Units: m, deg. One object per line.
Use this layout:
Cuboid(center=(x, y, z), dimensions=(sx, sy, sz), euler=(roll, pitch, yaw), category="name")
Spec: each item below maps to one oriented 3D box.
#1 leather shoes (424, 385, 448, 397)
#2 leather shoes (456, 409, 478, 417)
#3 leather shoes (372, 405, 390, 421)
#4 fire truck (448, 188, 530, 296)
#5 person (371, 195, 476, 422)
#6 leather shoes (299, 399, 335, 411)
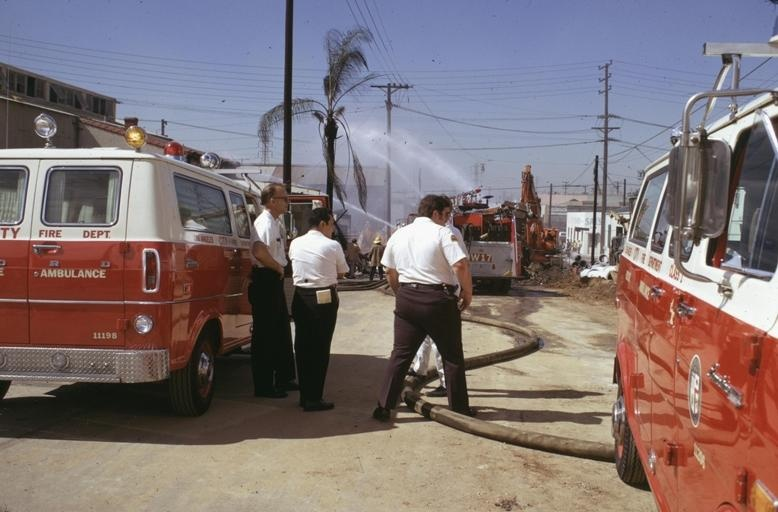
Cuboid(center=(0.617, 1.607, 7.165), dimensions=(0.394, 0.159, 0.135), euler=(-1, -5, 4), category="leather shoes")
Cuboid(center=(0.837, 1.628, 6.210), dimensions=(0.152, 0.058, 0.155), euler=(-1, -2, 17), category="leather shoes")
Cuboid(center=(-0.069, 1.623, 6.224), dimensions=(0.202, 0.197, 0.104), euler=(-1, -4, 36), category="leather shoes")
Cuboid(center=(3.568, -0.509, 20.372), dimensions=(3.092, 2.246, 4.858), euler=(-1, 0, 0), category="fire truck")
Cuboid(center=(0.361, 0.651, 6.110), dimensions=(0.974, 2.061, 0.352), euler=(2, 3, 8), category="person")
Cuboid(center=(-0.770, 1.563, 6.450), dimensions=(0.386, 0.166, 0.136), euler=(0, 1, -10), category="leather shoes")
